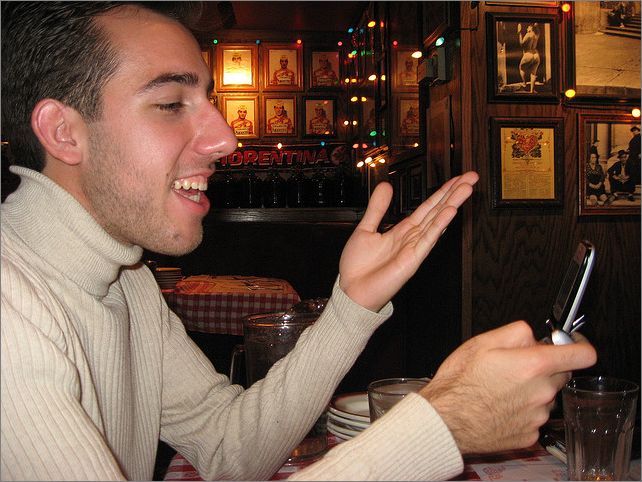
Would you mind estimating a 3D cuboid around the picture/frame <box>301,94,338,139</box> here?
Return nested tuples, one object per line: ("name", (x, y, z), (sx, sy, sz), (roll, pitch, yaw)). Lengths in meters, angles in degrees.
("picture/frame", (-0.026, -0.989, 4.441), (0.340, 0.385, 0.040), (-1, 6, -2))

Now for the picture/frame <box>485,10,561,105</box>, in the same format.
("picture/frame", (0.789, -0.728, 2.187), (0.354, 0.398, 0.030), (0, 0, -11))

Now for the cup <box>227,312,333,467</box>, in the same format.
("cup", (-0.101, 0.287, 1.190), (0.298, 0.305, 0.189), (0, 1, 23))

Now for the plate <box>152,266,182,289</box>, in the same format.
("plate", (-0.795, 0.193, 2.889), (0.151, 0.084, 0.151), (0, -2, -10))

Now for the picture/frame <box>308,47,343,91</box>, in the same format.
("picture/frame", (0.027, -1.362, 4.420), (0.329, 0.358, 0.040), (-1, 5, -1))

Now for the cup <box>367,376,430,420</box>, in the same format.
("cup", (0.150, 0.271, 1.048), (0.098, 0.087, 0.117), (-1, -5, 2))

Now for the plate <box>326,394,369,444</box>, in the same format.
("plate", (0.061, 0.378, 1.201), (0.098, 0.042, 0.098), (-1, 3, 7))
